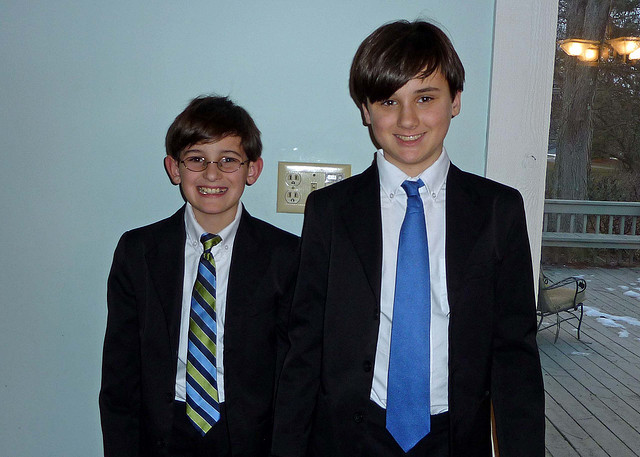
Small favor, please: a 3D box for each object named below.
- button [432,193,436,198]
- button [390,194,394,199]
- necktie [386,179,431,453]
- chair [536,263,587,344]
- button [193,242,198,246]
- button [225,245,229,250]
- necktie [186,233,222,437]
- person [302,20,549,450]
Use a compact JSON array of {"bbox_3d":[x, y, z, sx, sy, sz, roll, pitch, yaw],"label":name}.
[{"bbox_3d":[0.377,-0.111,1.758,0.013,0.015,0.003,1,1,1],"label":"button"},{"bbox_3d":[0.239,-0.109,1.763,0.013,0.015,0.005,-2,-1,7],"label":"button"},{"bbox_3d":[0.294,0.271,1.691,0.130,0.811,0.226,2,11,11],"label":"necktie"},{"bbox_3d":[2.312,0.616,5.251,0.551,0.733,0.539,-7,3,9],"label":"chair"},{"bbox_3d":[-0.436,0.052,1.859,0.012,0.015,0.003,-1,-2,5],"label":"button"},{"bbox_3d":[-0.327,0.065,1.854,0.013,0.015,0.003,-5,4,-11],"label":"button"},{"bbox_3d":[-0.391,0.354,1.799,0.136,0.641,0.205,-2,11,-11],"label":"necktie"},{"bbox_3d":[0.327,0.015,1.740,0.768,1.362,0.447,-1,11,-4],"label":"person"}]
